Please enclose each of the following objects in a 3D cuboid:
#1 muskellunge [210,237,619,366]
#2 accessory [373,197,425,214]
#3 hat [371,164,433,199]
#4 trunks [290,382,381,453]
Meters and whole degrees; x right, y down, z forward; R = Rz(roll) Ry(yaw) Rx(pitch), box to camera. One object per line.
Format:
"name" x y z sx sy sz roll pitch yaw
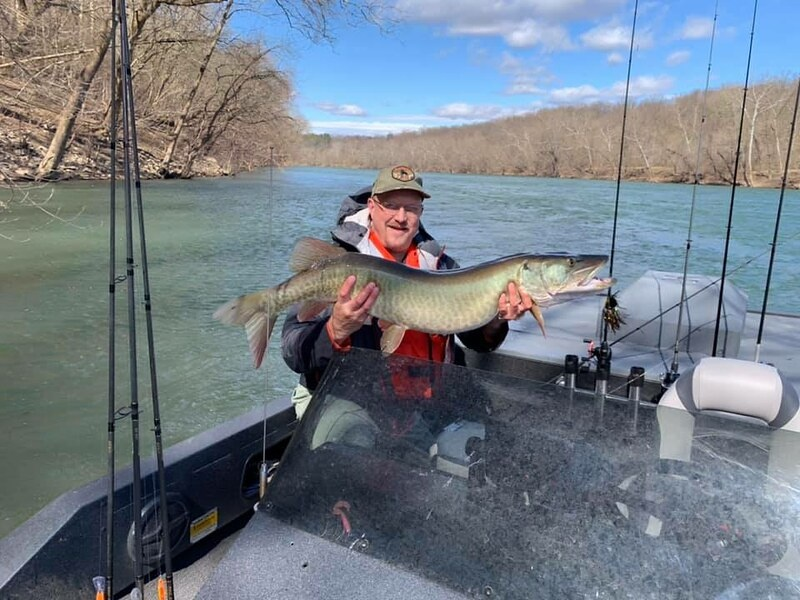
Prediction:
"muskellunge" 0.048 0.012 2.154 1.495 0.473 0.301 2 14 5
"accessory" 0.004 -0.460 2.712 0.250 0.083 0.129 -2 14 -10
"hat" 0.006 -0.577 2.655 0.272 0.151 0.218 -1 14 -6
"trunks" -0.238 0.491 2.091 0.251 0.137 0.341 -31 37 -26
